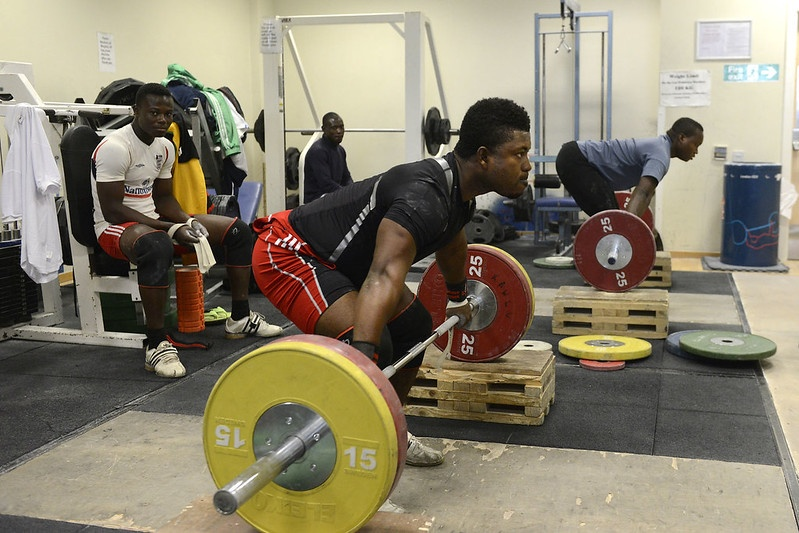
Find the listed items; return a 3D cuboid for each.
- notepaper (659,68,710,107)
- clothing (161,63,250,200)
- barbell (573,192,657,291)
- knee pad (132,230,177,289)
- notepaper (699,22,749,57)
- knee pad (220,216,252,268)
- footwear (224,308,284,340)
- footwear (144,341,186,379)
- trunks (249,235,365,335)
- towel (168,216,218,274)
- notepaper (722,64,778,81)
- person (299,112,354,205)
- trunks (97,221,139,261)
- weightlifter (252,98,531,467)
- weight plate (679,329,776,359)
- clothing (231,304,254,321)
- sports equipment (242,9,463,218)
[{"bbox_3d":[3.424,-2.138,7.009,0.469,0.362,0.062,2,6,15],"label":"notepaper"},{"bbox_3d":[-1.698,-1.360,6.054,1.075,1.254,0.540,17,31,29],"label":"clothing"},{"bbox_3d":[1.754,-0.162,4.835,0.639,0.650,0.548,5,7,15],"label":"barbell"},{"bbox_3d":[-1.545,-0.045,3.691,0.168,0.374,0.216,0,27,-5],"label":"knee pad"},{"bbox_3d":[3.810,-2.637,6.846,0.423,0.316,0.032,1,3,11],"label":"notepaper"},{"bbox_3d":[-1.133,-0.148,4.150,0.197,0.458,0.280,-1,42,-16],"label":"knee pad"},{"bbox_3d":[-1.072,0.438,4.381,0.428,0.194,0.169,0,4,-13],"label":"footwear"},{"bbox_3d":[-1.477,0.584,3.705,0.321,0.159,0.151,6,7,40],"label":"footwear"},{"bbox_3d":[-0.381,0.021,2.316,0.468,0.246,0.145,37,41,15],"label":"trunks"},{"bbox_3d":[-1.299,-0.127,3.876,0.184,0.264,0.362,-23,-19,4],"label":"towel"},{"bbox_3d":[4.087,-2.230,6.829,0.591,0.205,0.032,2,13,11],"label":"notepaper"},{"bbox_3d":[-0.654,-1.119,6.240,0.799,0.951,0.693,6,13,8],"label":"person"},{"bbox_3d":[-1.824,-0.148,3.839,0.242,0.196,0.255,-1,-3,39],"label":"trunks"},{"bbox_3d":[-0.074,0.040,2.792,1.299,1.753,1.362,5,4,16],"label":"weightlifter"},{"bbox_3d":[2.100,0.533,3.791,0.532,0.130,0.459,6,14,28],"label":"weight plate"},{"bbox_3d":[-1.154,0.336,4.317,0.096,0.138,0.141,-1,0,-14],"label":"clothing"},{"bbox_3d":[-0.622,-1.792,7.231,2.479,3.182,2.122,1,9,15],"label":"sports equipment"}]
